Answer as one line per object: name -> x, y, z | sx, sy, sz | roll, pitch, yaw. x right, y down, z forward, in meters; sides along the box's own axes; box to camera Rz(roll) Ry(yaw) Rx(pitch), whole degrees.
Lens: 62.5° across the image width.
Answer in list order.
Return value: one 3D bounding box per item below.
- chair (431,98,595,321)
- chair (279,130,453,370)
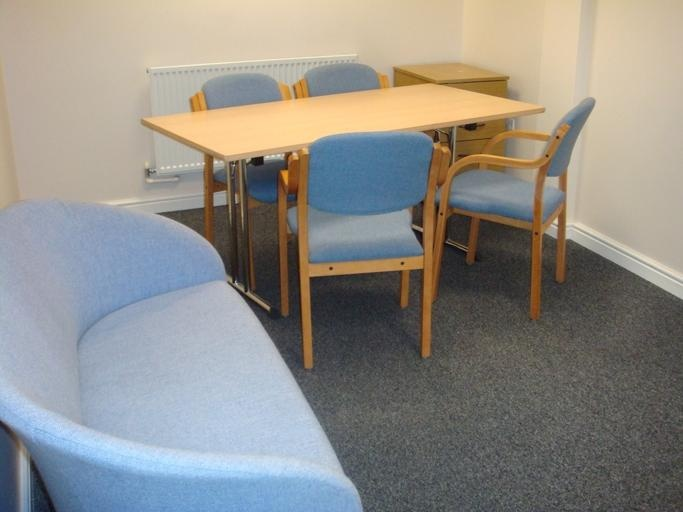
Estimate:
chair -> 0.760, -0.255, 2.606 | 0.593, 0.970, 0.665 | -19, 27, -33
chair -> 0.075, -0.095, 2.195 | 0.674, 0.891, 0.632 | -20, 31, -37
